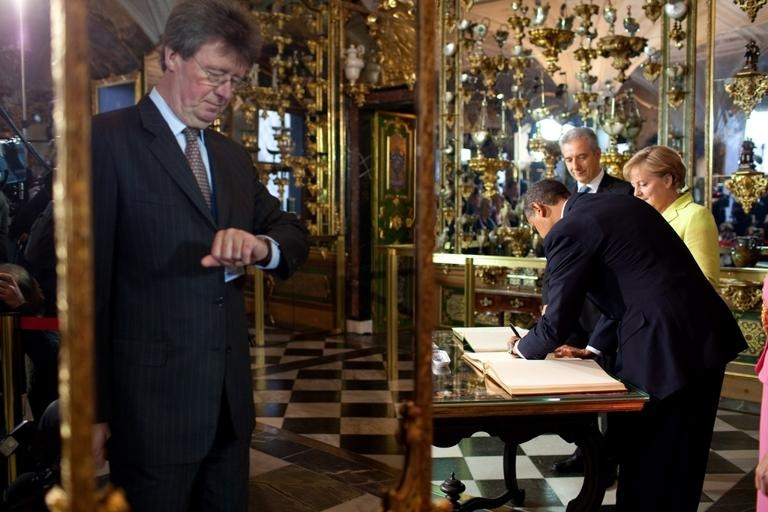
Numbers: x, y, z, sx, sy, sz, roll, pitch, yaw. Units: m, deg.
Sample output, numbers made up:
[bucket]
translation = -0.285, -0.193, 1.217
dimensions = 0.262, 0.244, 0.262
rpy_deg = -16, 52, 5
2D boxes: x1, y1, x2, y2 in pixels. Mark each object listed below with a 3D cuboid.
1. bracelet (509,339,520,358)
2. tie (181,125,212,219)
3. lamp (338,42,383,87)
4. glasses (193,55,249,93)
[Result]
[bracelet]
translation = 0.571, 0.404, 3.254
dimensions = 0.052, 0.057, 0.046
rpy_deg = 25, 8, 41
[tie]
translation = -0.684, -0.311, 2.677
dimensions = 0.065, 0.372, 0.041
rpy_deg = -1, -23, -40
[lamp]
translation = -0.264, -2.068, 7.961
dimensions = 0.411, 0.459, 0.317
rpy_deg = 1, 9, -5
[glasses]
translation = -0.606, -0.640, 2.642
dimensions = 0.125, 0.037, 0.122
rpy_deg = 1, 31, -45
